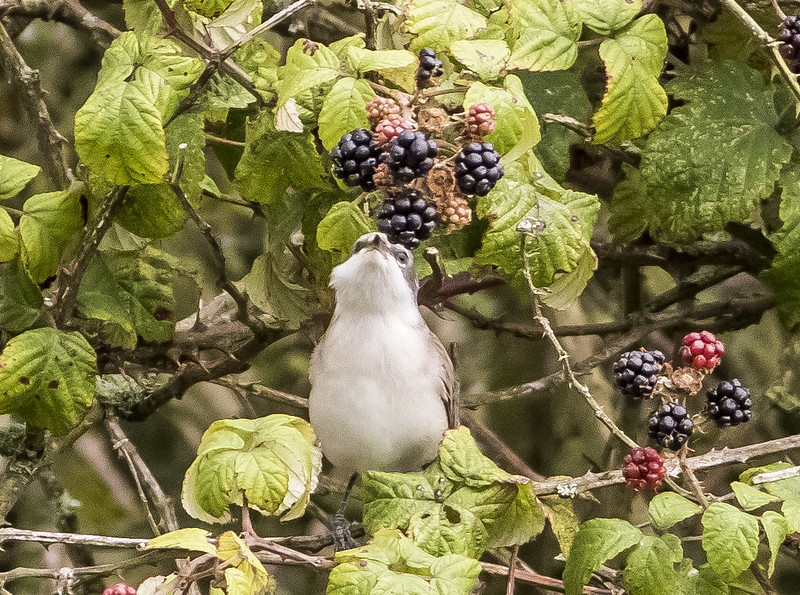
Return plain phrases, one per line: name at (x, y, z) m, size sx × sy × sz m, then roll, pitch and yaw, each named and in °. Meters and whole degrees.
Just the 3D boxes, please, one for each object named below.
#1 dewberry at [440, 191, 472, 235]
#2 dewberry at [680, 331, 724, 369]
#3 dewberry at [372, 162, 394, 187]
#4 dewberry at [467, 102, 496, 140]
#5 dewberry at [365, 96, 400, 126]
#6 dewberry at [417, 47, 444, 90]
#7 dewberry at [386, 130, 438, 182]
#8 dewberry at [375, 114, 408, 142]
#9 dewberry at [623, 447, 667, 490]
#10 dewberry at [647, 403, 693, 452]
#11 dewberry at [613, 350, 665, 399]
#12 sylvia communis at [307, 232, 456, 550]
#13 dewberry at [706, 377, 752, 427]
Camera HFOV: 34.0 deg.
dewberry at (0.099, -0.171, 2.581) m, size 0.071 × 0.092 × 0.056 m, roll -1°, pitch 62°, yaw -16°
dewberry at (0.593, 0.080, 2.577) m, size 0.066 × 0.079 × 0.064 m, roll 4°, pitch 33°, yaw 26°
dewberry at (-0.040, -0.238, 2.511) m, size 0.031 × 0.021 × 0.047 m, roll 2°, pitch 95°, yaw 0°
dewberry at (0.169, -0.348, 2.564) m, size 0.052 × 0.072 × 0.043 m, roll -1°, pitch 88°, yaw 33°
dewberry at (-0.033, -0.370, 2.558) m, size 0.054 × 0.042 × 0.059 m, roll -30°, pitch 56°, yaw -7°
dewberry at (0.057, -0.459, 2.567) m, size 0.042 × 0.037 × 0.083 m, roll -3°, pitch 75°, yaw -2°
dewberry at (0.021, -0.267, 2.472) m, size 0.078 × 0.080 × 0.098 m, roll 1°, pitch 40°, yaw 9°
dewberry at (-0.016, -0.329, 2.514) m, size 0.044 × 0.028 × 0.062 m, roll 29°, pitch 63°, yaw 23°
dewberry at (0.477, 0.330, 2.553) m, size 0.078 × 0.089 × 0.070 m, roll -10°, pitch 8°, yaw -44°
dewberry at (0.529, 0.250, 2.553) m, size 0.068 × 0.086 × 0.098 m, roll -9°, pitch 44°, yaw 8°
dewberry at (0.477, 0.140, 2.615) m, size 0.070 × 0.066 × 0.100 m, roll 12°, pitch 24°, yaw -1°
sylvia communis at (-0.020, 0.132, 2.733) m, size 0.324 × 0.402 × 0.341 m, roll 13°, pitch 57°, yaw 1°
dewberry at (0.647, 0.205, 2.572) m, size 0.076 × 0.081 × 0.093 m, roll -3°, pitch 56°, yaw 1°
